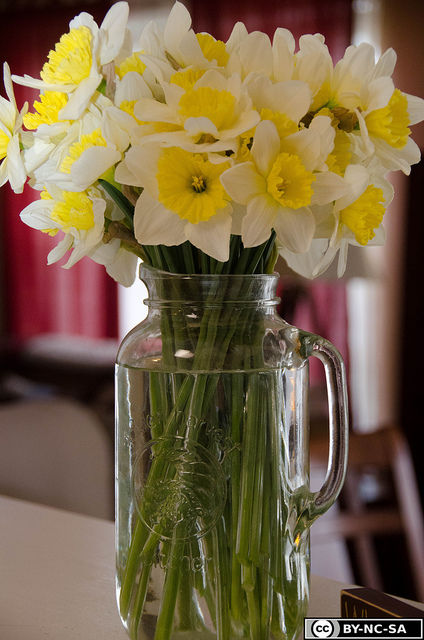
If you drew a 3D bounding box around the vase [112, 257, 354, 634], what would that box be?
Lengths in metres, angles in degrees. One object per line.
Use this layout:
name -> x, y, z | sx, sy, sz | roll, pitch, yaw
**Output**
vase -> 0.009, 0.100, 0.463 | 0.186, 0.284, 0.136 | 4, 16, 12
